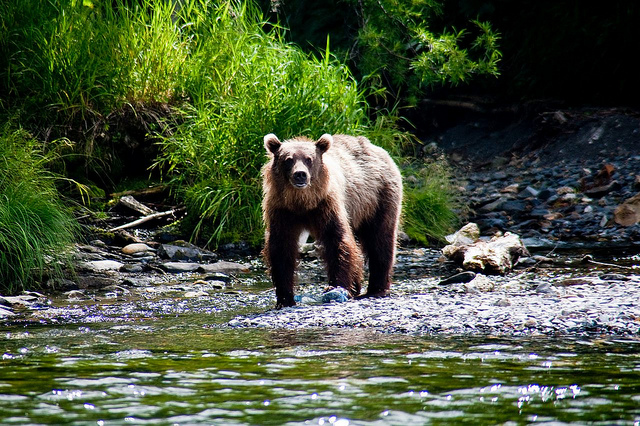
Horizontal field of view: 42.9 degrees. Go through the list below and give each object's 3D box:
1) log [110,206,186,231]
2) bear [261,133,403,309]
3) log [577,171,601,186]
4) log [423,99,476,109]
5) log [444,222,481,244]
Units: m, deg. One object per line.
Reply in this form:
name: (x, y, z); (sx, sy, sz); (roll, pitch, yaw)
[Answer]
log: (-3.098, 0.111, 14.213); (1.302, 0.137, 0.181); (-16, 14, -40)
bear: (0.157, 0.026, 11.402); (2.262, 2.204, 1.272); (-7, 13, -38)
log: (5.417, -0.681, 16.511); (0.604, 0.216, 0.228); (-7, 13, -39)
log: (3.739, -3.124, 23.608); (1.493, 0.220, 0.349); (2, 10, 9)
log: (2.563, 0.430, 14.379); (0.598, 0.208, 0.343); (-25, 23, -11)
